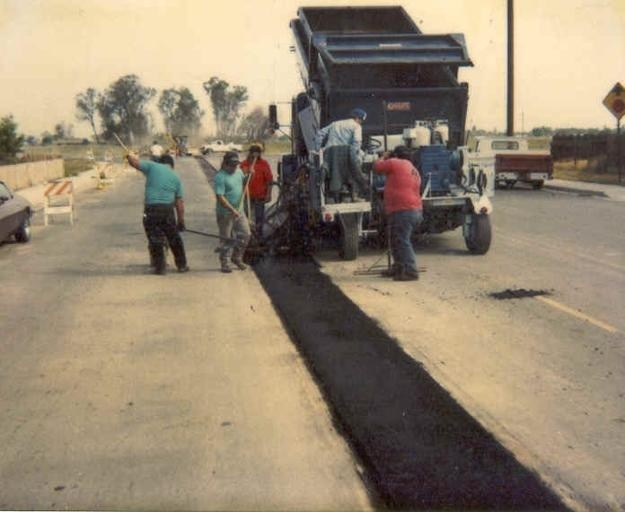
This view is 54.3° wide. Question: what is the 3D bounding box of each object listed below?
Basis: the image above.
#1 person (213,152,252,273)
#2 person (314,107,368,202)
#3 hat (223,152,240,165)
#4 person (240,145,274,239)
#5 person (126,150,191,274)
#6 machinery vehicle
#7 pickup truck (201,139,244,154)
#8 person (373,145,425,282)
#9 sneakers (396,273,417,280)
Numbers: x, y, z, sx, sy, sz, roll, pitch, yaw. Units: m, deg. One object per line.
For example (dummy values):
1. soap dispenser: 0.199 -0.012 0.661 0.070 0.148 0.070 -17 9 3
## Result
1. person: -1.335 -0.726 10.009 0.523 1.967 0.787 2 10 11
2. person: 0.498 -1.693 10.241 0.750 1.816 0.660 5 -25 14
3. hat: -1.309 -1.560 9.655 0.162 0.157 0.255 -3 12 -26
4. person: -1.194 -1.330 12.851 0.646 2.080 0.699 2 38 -5
5. person: -2.433 -0.680 9.752 0.755 1.947 1.106 -1 10 -3
6. machinery vehicle: 1.352 -2.686 12.468 2.942 4.759 6.065 -1 24 -6
7. pickup truck: -8.685 -10.116 56.554 5.432 1.131 3.004 8 16 31
8. person: 1.329 -0.692 9.391 0.678 1.935 0.873 1 10 9
9. sneakers: 1.420 0.309 9.115 0.259 0.155 0.139 -3 9 7
